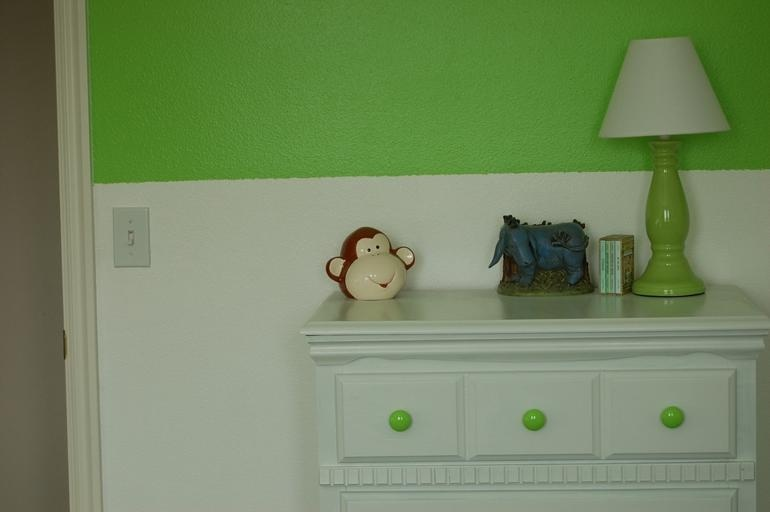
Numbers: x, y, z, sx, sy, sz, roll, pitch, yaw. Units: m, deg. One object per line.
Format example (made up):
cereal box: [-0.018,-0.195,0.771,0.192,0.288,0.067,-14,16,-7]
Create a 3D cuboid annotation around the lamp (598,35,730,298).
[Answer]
lamp: [0.837,-0.254,2.467,0.369,0.753,0.234,-2,-9,8]
